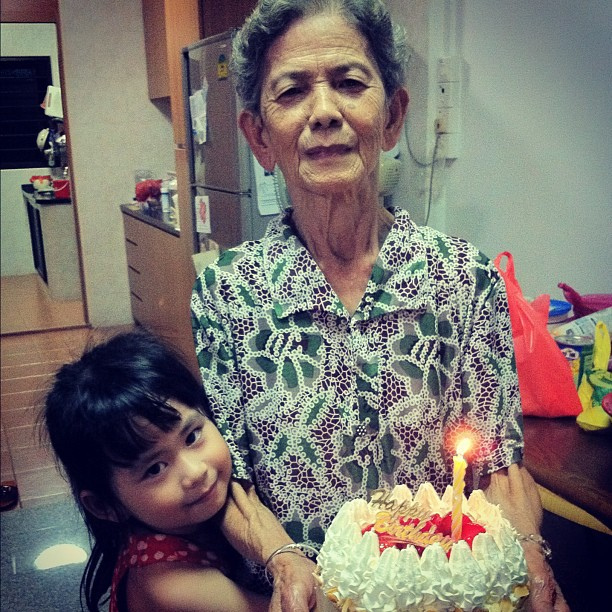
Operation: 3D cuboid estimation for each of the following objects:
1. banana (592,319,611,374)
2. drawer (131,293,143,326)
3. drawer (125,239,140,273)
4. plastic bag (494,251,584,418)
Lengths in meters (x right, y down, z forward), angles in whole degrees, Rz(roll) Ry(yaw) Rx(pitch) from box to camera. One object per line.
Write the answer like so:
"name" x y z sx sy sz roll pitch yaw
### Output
"banana" 0.698 0.094 1.593 0.037 0.123 0.076 2 12 24
"drawer" -1.079 0.011 4.263 0.048 0.200 0.172 -1 -2 -40
"drawer" -1.207 -0.347 4.652 0.053 0.214 0.187 -12 15 -31
"plastic bag" 0.523 0.076 1.653 0.168 0.391 0.344 -17 23 -27
